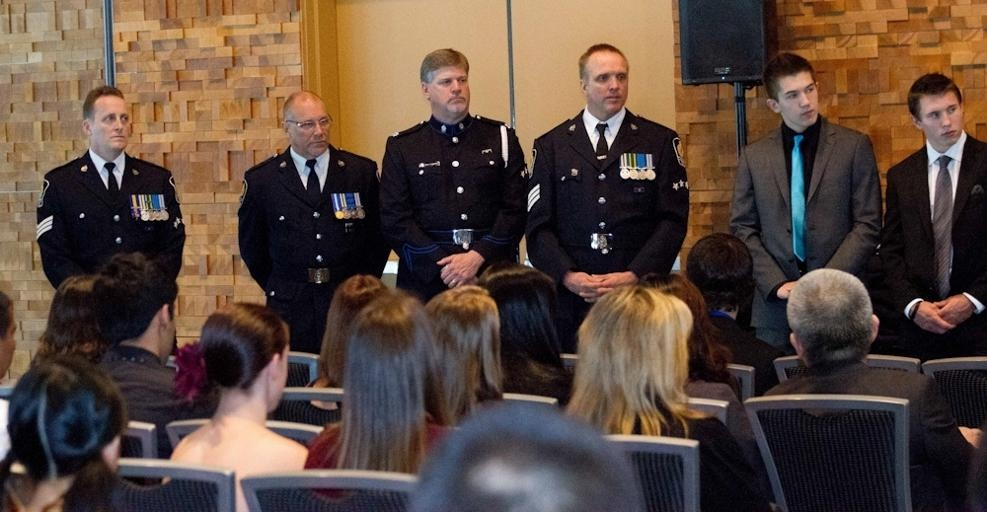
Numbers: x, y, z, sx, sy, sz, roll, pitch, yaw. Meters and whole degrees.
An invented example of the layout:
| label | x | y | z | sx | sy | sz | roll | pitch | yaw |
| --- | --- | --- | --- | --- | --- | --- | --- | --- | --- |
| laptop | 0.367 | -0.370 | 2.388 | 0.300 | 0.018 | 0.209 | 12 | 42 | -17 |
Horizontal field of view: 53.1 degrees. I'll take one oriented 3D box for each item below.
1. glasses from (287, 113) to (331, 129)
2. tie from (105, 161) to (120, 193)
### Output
| label | x | y | z | sx | sy | sz | roll | pitch | yaw |
| --- | --- | --- | --- | --- | --- | --- | --- | --- | --- |
| glasses | -1.368 | -0.982 | 7.292 | 0.302 | 0.085 | 0.123 | -5 | 9 | -18 |
| tie | -2.864 | -0.580 | 7.399 | 0.096 | 0.232 | 0.071 | -2 | -13 | -13 |
